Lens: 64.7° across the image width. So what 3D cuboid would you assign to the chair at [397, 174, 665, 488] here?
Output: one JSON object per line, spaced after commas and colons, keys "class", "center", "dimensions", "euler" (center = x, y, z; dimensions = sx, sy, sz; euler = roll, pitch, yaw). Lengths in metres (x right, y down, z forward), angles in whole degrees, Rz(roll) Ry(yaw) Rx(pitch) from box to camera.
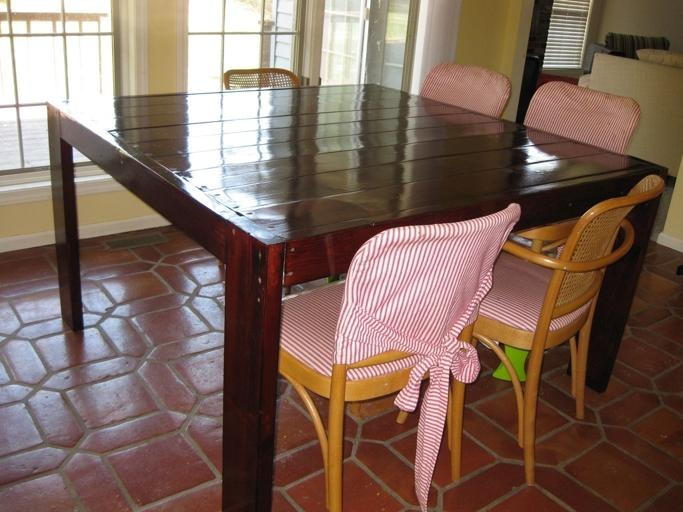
{"class": "chair", "center": [0.646, 0.209, 1.989], "dimensions": [0.789, 0.967, 0.657], "euler": [12, 24, 36]}
